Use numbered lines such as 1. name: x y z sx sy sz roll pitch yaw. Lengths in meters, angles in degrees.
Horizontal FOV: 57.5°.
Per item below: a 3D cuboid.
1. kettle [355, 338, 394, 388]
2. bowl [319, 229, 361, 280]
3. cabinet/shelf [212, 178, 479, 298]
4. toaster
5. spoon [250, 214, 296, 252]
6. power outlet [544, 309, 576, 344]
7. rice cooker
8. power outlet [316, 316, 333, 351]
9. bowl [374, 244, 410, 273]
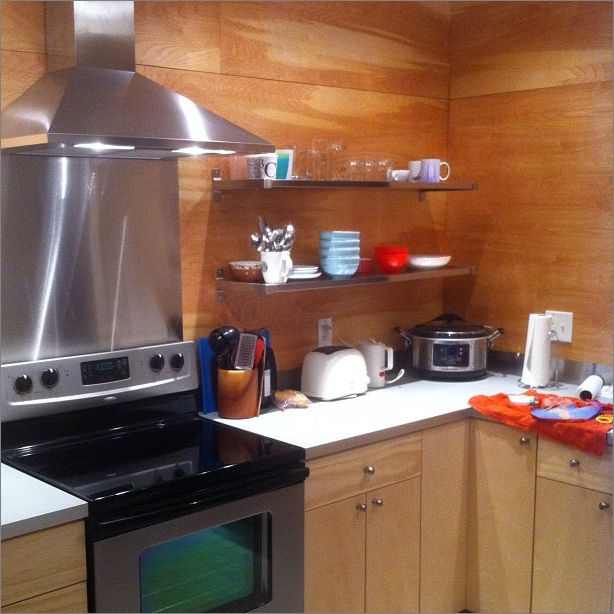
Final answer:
1. kettle: 0.290 0.233 2.365 0.124 0.207 0.119 -5 17 -38
2. bowl: 0.121 -0.202 2.189 0.138 0.185 0.138 2 14 -1
3. cabinet/shelf: 0.216 -0.381 2.299 0.410 0.514 1.499 4 7 43
4. toaster: 0.112 0.247 2.194 0.259 0.194 0.143 -8 14 -41
5. spoon: -0.132 -0.257 1.967 0.132 0.054 0.133 13 27 18
6. power outlet: 1.078 0.088 2.391 0.023 0.174 0.150 0 0 -42
7. rice cooker: 0.641 0.156 2.543 0.448 0.286 0.361 -3 12 -1
8. power outlet: 0.064 0.111 2.321 0.013 0.170 0.118 7 10 43
9. bowl: 0.349 -0.198 2.341 0.115 0.087 0.115 1 0 0
